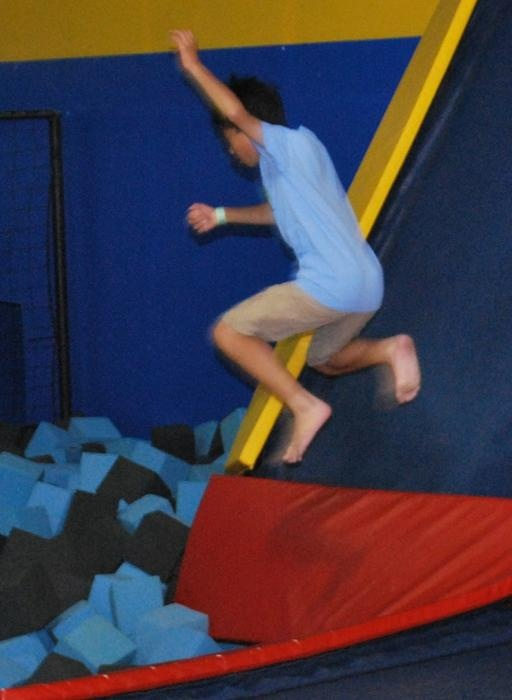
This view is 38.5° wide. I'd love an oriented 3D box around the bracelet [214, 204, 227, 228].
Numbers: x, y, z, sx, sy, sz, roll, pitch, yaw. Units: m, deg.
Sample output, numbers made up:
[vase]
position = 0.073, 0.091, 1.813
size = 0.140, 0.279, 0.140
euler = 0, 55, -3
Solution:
[bracelet]
position = -0.090, -0.359, 1.975
size = 0.053, 0.044, 0.014
euler = 3, 6, 38
